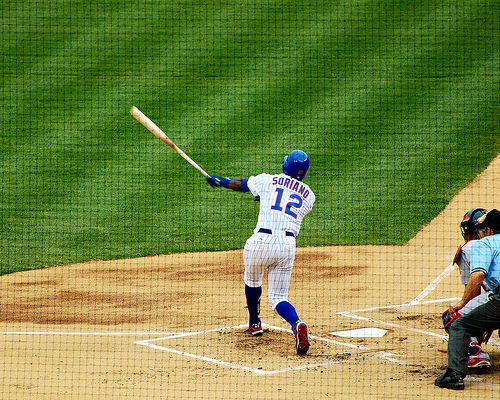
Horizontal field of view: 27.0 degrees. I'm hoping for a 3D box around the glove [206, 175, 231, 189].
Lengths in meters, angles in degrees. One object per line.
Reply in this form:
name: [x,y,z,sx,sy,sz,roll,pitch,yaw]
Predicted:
glove: [-0.605,-0.356,18.385,0.627,0.204,0.162,8,-41,45]
